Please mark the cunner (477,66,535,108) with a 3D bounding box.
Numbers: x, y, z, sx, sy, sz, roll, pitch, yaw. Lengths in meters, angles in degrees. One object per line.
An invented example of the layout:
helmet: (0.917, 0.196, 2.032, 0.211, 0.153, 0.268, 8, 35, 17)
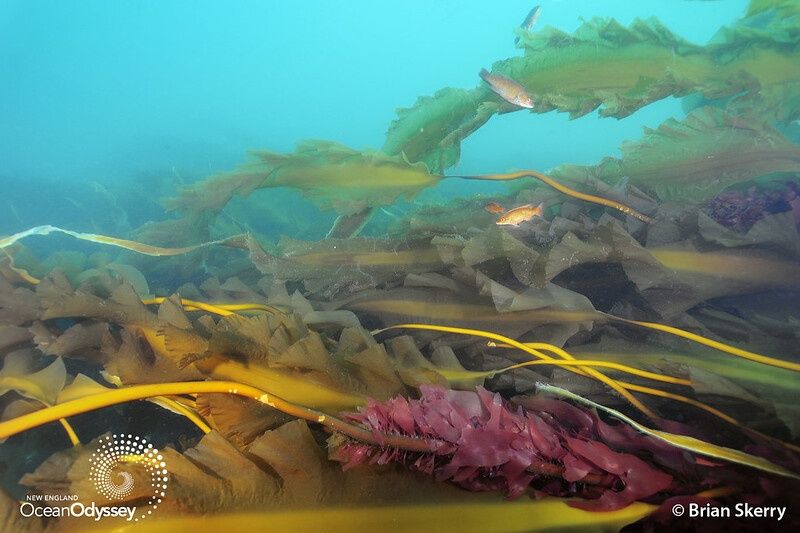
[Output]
cunner: (0.314, -0.526, 1.757, 0.174, 0.117, 0.068, 7, 34, 12)
